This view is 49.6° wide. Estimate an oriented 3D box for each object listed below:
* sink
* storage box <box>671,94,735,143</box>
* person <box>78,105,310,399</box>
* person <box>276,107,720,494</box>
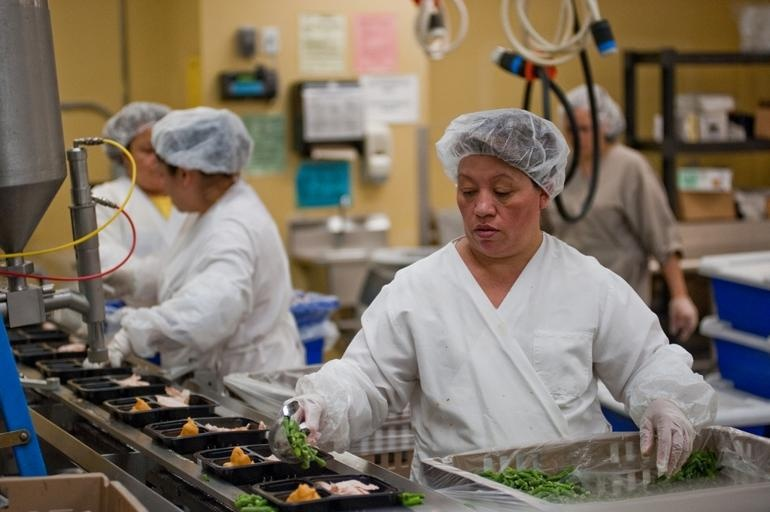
[{"bbox_3d":[-0.359,0.106,5.748,0.444,0.292,0.461,0,6,-12],"label":"sink"},{"bbox_3d":[1.813,-0.765,4.848,0.390,0.291,0.246,-1,-7,-7],"label":"storage box"},{"bbox_3d":[-0.735,0.196,3.180,0.847,1.459,0.836,-1,16,-17],"label":"person"},{"bbox_3d":[0.354,0.113,2.464,1.210,1.104,0.385,-2,2,1],"label":"person"}]
